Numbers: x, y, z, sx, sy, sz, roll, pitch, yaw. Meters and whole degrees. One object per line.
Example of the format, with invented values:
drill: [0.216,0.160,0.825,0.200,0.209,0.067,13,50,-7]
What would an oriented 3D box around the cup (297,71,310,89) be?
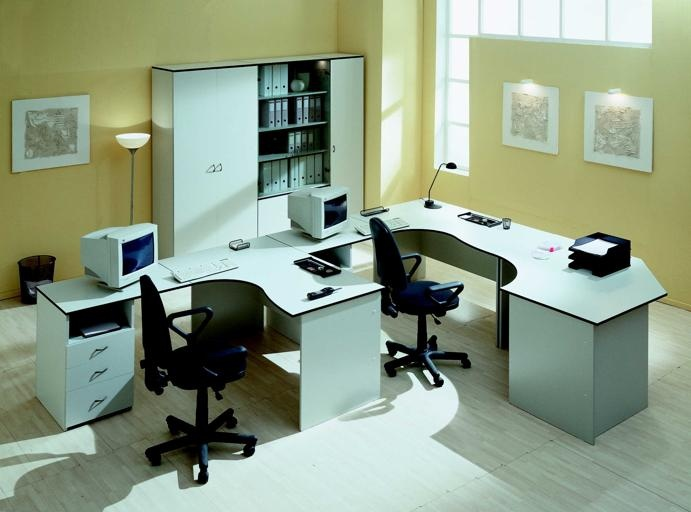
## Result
cup: [-0.552,-2.277,7.611,0.222,0.262,0.226,1,6,0]

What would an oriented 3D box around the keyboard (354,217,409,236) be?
keyboard: [0.331,-0.297,5.648,0.403,0.067,0.225,-10,22,-28]

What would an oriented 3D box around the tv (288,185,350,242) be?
tv: [-0.241,-0.428,5.557,0.508,0.440,0.538,-13,22,-38]

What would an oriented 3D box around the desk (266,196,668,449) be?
desk: [1.619,0.524,4.958,0.996,1.106,1.842,-9,19,-21]

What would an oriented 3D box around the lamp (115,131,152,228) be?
lamp: [-2.367,-0.874,6.691,0.383,1.028,0.504,-8,18,-19]

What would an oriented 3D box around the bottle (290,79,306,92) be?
bottle: [-0.626,-2.162,7.516,0.162,0.114,0.165,0,11,0]

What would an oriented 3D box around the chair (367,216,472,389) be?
chair: [0.667,0.432,5.326,0.909,1.559,0.980,-5,19,-12]

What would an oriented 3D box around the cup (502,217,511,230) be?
cup: [1.580,-0.315,5.710,0.095,0.103,0.098,-1,10,0]

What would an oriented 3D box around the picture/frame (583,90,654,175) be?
picture/frame: [2.900,-1.326,6.179,0.042,0.835,0.822,-14,20,-36]

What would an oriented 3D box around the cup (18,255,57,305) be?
cup: [-3.357,0.300,6.379,0.416,0.485,0.293,-2,-1,-12]

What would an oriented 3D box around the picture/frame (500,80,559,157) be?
picture/frame: [2.199,-1.645,6.931,0.062,0.868,0.820,-14,22,-39]

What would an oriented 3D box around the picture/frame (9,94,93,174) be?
picture/frame: [-3.182,-1.316,6.223,0.787,0.749,0.033,-13,24,-34]

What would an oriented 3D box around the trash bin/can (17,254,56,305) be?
trash bin/can: [-3.368,0.295,6.378,0.397,0.485,0.308,0,-5,-17]

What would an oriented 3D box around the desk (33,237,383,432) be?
desk: [-0.667,0.414,4.810,2.077,0.961,1.578,-12,21,-39]
